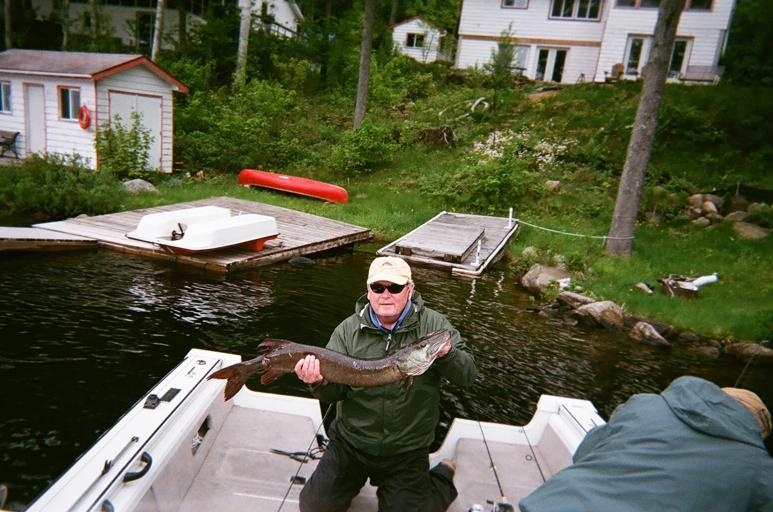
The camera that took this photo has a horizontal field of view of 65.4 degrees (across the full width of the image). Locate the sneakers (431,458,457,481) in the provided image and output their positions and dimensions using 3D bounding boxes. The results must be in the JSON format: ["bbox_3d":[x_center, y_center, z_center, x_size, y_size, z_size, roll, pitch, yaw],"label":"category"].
[{"bbox_3d":[0.916,3.458,9.764,0.254,0.166,0.428,11,-8,-3],"label":"sneakers"}]

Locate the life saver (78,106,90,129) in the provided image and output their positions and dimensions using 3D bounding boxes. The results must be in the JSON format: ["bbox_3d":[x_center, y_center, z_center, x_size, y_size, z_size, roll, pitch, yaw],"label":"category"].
[{"bbox_3d":[-10.806,-4.929,21.294,0.575,0.831,0.169,13,18,28],"label":"life saver"}]

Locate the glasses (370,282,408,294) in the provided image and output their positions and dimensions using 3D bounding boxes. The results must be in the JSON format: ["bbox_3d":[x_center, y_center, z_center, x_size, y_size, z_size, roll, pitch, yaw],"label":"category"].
[{"bbox_3d":[-0.007,0.484,9.155,0.511,0.172,0.056,4,16,-2],"label":"glasses"}]

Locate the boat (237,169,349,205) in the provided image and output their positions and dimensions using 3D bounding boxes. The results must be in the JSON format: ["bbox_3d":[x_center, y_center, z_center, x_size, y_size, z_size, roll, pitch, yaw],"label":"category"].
[{"bbox_3d":[-3.719,-2.637,22.839,4.183,0.916,0.955,12,24,11],"label":"boat"}]

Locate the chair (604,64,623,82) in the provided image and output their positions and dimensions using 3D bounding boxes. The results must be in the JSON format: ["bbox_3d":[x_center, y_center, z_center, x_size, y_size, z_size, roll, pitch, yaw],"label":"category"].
[{"bbox_3d":[11.753,-9.504,30.880,0.802,1.015,1.846,10,16,20],"label":"chair"}]

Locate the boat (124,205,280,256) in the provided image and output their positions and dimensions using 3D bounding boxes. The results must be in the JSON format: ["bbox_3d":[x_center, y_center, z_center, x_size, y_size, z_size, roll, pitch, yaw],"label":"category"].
[{"bbox_3d":[-4.880,-0.753,16.173,2.126,0.703,2.130,11,16,31],"label":"boat"}]

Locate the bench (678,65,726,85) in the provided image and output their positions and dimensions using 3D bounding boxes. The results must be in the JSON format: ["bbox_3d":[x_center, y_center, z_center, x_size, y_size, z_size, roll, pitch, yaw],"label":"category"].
[{"bbox_3d":[15.737,-9.189,30.173,1.806,0.899,1.404,10,16,22],"label":"bench"}]
